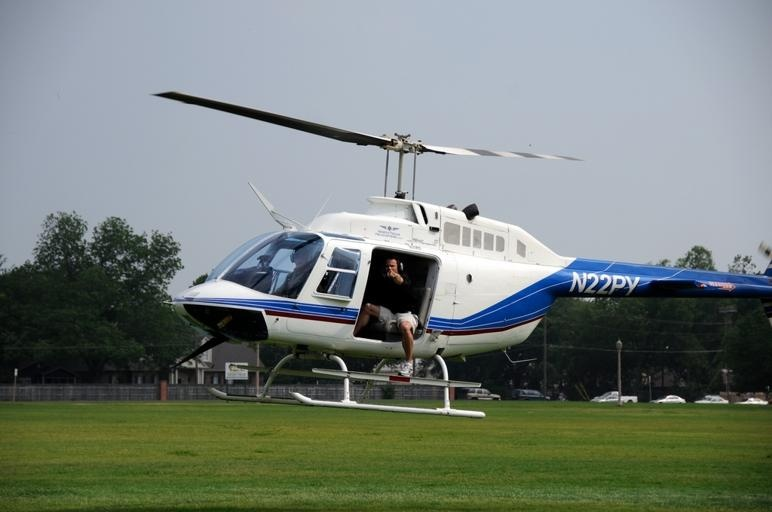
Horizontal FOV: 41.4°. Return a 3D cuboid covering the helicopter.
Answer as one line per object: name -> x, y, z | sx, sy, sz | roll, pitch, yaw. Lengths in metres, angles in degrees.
helicopter -> 1.863, 1.029, 29.993 | 15.081, 4.319, 10.724 | 7, -10, -24

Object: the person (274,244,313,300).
person -> -2.389, 0.423, 27.505 | 0.927, 1.469, 0.183 | 3, -15, -4
